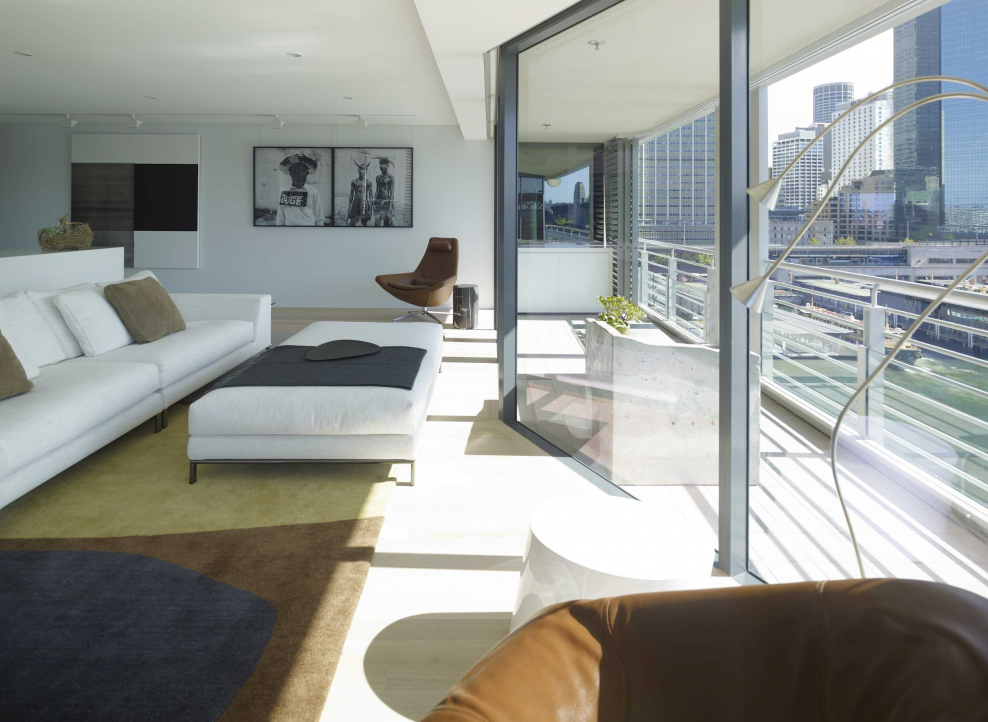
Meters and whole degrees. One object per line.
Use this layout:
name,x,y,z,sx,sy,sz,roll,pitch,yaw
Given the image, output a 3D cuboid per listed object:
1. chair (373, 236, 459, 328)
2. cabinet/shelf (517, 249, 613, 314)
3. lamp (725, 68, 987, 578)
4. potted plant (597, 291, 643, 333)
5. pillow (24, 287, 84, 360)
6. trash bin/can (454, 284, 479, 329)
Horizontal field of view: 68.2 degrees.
chair,-0.868,-0.980,8.989,0.887,0.966,0.948,8,17,25
cabinet/shelf,0.349,-0.467,4.353,0.635,0.385,0.339,-1,4,-10
lamp,1.111,-0.003,2.238,0.692,1.592,0.980,-4,11,18
potted plant,0.661,-0.249,3.792,0.196,0.125,0.195,6,37,13
pillow,-2.723,-0.230,4.556,0.116,0.378,0.400,-28,-7,5
trash bin/can,-0.342,-0.620,8.623,0.323,0.486,0.327,-1,0,20
